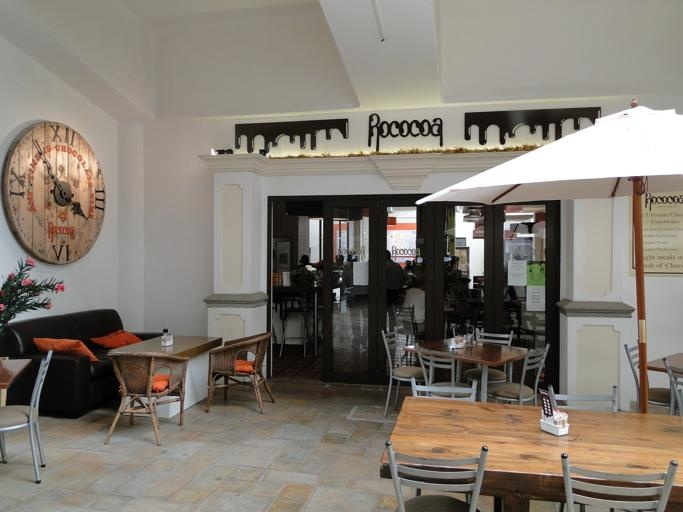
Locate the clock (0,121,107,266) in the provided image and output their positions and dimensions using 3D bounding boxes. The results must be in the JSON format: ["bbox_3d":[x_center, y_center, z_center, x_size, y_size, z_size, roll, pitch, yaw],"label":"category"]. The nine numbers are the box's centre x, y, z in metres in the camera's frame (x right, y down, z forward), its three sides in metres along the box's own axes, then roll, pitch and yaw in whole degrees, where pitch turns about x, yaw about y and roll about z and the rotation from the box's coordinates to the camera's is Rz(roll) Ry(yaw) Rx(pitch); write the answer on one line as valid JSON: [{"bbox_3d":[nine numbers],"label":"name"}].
[{"bbox_3d":[-3.940,-0.858,7.611,0.154,1.914,1.441,3,7,23],"label":"clock"}]

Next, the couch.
[{"bbox_3d":[-3.500,1.365,7.232,0.992,1.084,1.901,1,0,11],"label":"couch"}]

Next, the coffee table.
[{"bbox_3d":[-2.203,1.264,7.264,0.861,0.732,1.475,0,-1,16],"label":"coffee table"}]

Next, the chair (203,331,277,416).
[{"bbox_3d":[-1.324,1.568,7.597,0.897,1.272,1.005,2,-5,-4],"label":"chair"}]

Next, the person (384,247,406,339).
[{"bbox_3d":[0.790,0.524,8.414,0.324,1.119,0.341,6,-8,-42],"label":"person"}]

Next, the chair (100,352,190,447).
[{"bbox_3d":[-2.168,1.574,6.585,0.877,1.173,1.047,0,2,11],"label":"chair"}]

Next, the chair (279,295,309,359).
[{"bbox_3d":[-0.860,1.239,10.228,0.530,1.040,0.605,0,6,-3],"label":"chair"}]
